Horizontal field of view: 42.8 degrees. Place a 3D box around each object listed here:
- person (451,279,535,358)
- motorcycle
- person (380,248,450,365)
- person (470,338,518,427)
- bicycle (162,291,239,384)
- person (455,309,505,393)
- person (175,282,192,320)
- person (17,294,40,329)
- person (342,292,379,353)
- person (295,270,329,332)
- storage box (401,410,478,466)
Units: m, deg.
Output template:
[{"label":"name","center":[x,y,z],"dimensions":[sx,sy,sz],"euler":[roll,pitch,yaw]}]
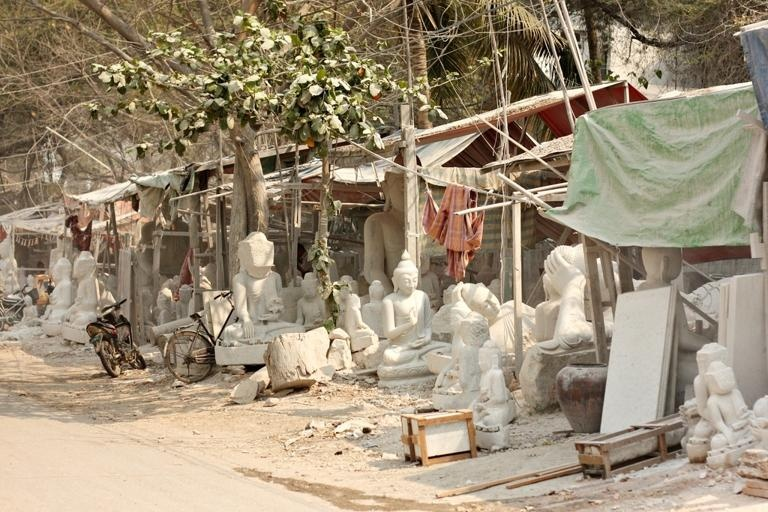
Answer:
[{"label":"person","center":[1.651,0.977,14.939],"dimensions":[0.596,0.695,1.061],"euler":[0,-23,35]},{"label":"motorcycle","center":[-5.045,1.517,18.180],"dimensions":[0.857,1.267,1.049],"euler":[6,11,42]},{"label":"person","center":[0.423,0.815,16.002],"dimensions":[1.043,1.768,0.801],"euler":[-4,9,-13]},{"label":"person","center":[1.462,1.754,13.393],"dimensions":[0.485,1.156,0.681],"euler":[2,9,24]},{"label":"bicycle","center":[-2.909,1.420,16.935],"dimensions":[1.970,1.161,0.815],"euler":[-16,-15,22]},{"label":"person","center":[1.243,1.377,14.020],"dimensions":[0.918,1.556,1.105],"euler":[0,-4,10]},{"label":"person","center":[-4.061,0.910,19.914],"dimensions":[0.293,0.973,0.377],"euler":[-10,32,-29]},{"label":"person","center":[-9.309,1.434,25.715],"dimensions":[0.508,0.736,0.562],"euler":[0,10,15]},{"label":"person","center":[-0.384,1.110,16.538],"dimensions":[0.586,0.979,0.420],"euler":[-2,9,0]},{"label":"person","center":[-1.375,0.839,17.678],"dimensions":[0.753,1.096,0.794],"euler":[-5,5,-25]},{"label":"storage box","center":[0.724,2.277,12.853],"dimensions":[0.770,0.469,0.735],"euler":[-6,3,-22]}]
